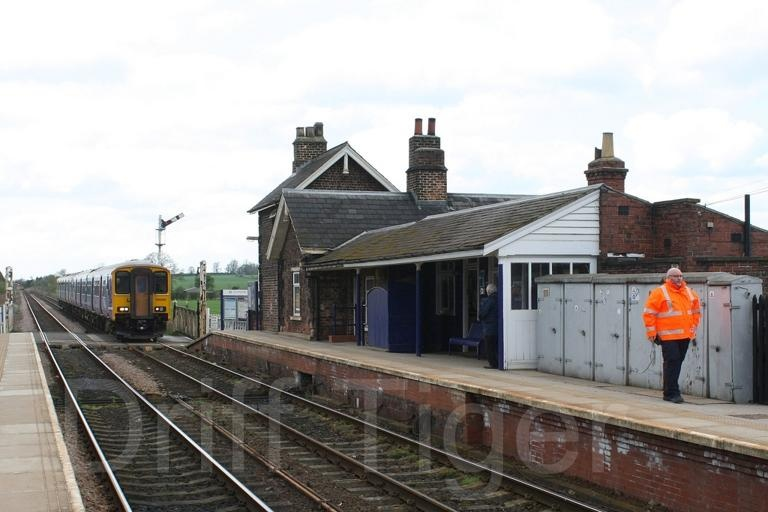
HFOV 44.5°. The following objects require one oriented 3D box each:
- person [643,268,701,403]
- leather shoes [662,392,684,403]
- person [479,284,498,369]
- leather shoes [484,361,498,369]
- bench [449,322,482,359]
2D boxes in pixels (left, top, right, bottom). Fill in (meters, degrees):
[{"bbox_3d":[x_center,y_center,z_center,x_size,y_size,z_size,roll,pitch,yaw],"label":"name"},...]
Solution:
[{"bbox_3d":[4.943,1.308,15.987,0.910,1.483,0.453,-1,-2,-17],"label":"person"},{"bbox_3d":[4.845,2.365,15.797,0.319,0.102,0.254,-2,-2,18],"label":"leather shoes"},{"bbox_3d":[2.231,1.446,20.108,0.391,1.749,1.165,-2,-2,6],"label":"person"},{"bbox_3d":[2.220,2.238,19.770,0.296,0.144,0.527,-2,-2,5],"label":"leather shoes"},{"bbox_3d":[2.069,1.896,21.902,0.769,0.805,1.330,2,-3,-24],"label":"bench"}]
